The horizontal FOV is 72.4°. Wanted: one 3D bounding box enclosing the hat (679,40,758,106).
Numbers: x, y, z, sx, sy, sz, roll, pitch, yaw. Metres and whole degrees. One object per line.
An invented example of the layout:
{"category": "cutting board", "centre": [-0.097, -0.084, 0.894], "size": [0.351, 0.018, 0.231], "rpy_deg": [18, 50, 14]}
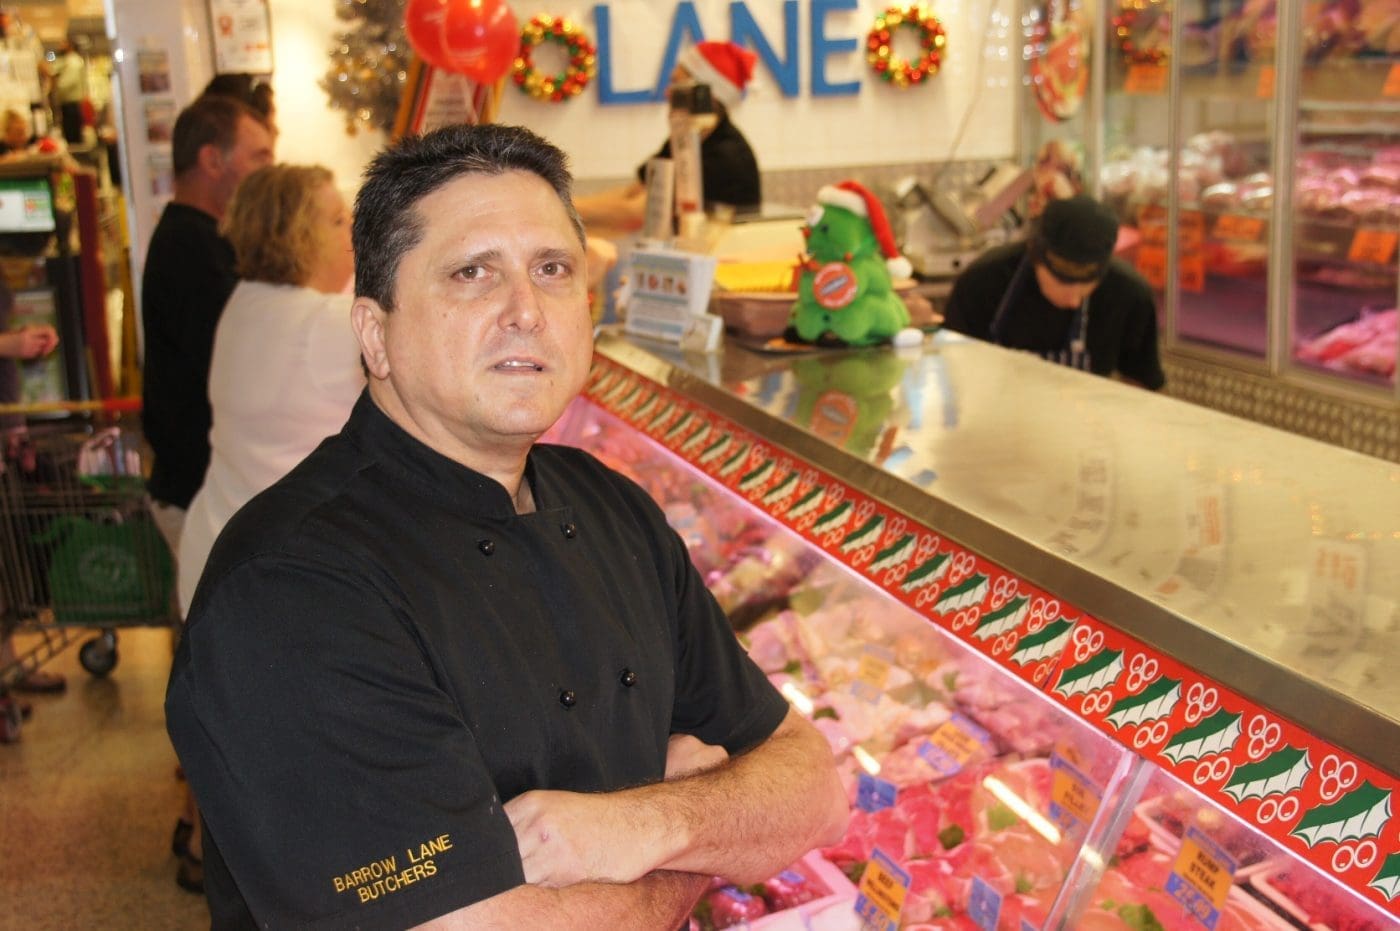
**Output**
{"category": "hat", "centre": [0.079, -1.529, 3.717], "size": [0.319, 0.244, 0.282], "rpy_deg": [-7, 15, -22]}

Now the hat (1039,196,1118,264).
{"category": "hat", "centre": [1.367, -0.855, 3.489], "size": [0.279, 0.238, 0.197], "rpy_deg": [3, 14, 18]}

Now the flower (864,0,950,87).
{"category": "flower", "centre": [1.653, -3.294, 7.522], "size": [0.604, 0.587, 0.192], "rpy_deg": [3, 6, -23]}
